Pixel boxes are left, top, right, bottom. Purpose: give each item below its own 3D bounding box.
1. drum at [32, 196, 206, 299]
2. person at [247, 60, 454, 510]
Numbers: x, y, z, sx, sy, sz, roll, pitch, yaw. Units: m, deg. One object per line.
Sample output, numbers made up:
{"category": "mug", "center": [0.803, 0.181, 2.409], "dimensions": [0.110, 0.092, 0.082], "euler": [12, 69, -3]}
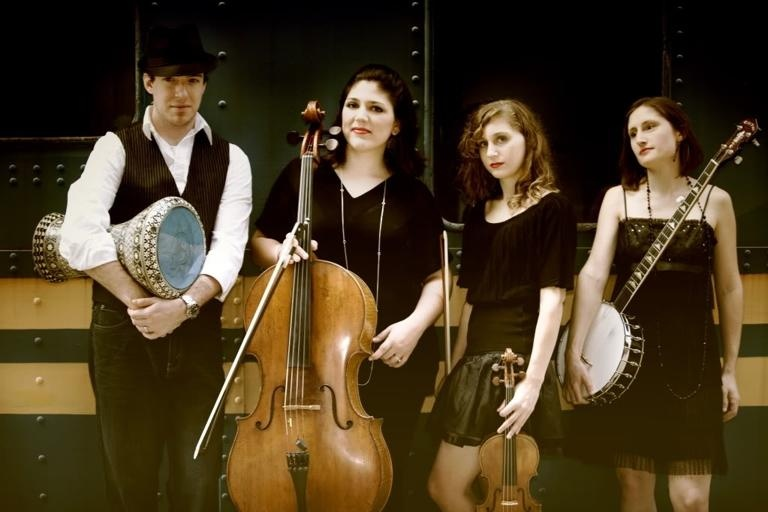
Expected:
{"category": "drum", "center": [-1.560, -0.057, 5.591], "dimensions": [0.946, 0.590, 0.602], "euler": [-2, -36, 34]}
{"category": "person", "center": [-0.156, -0.043, 5.619], "dimensions": [1.102, 2.869, 1.019], "euler": [1, 1, 11]}
